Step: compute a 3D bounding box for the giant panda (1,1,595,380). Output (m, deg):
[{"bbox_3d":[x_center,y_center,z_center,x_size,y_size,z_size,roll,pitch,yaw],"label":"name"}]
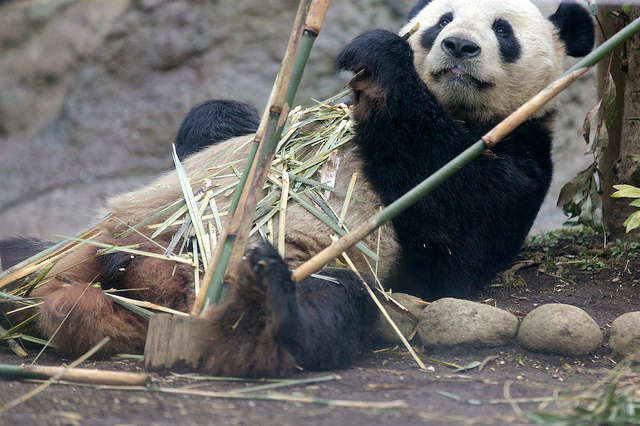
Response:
[{"bbox_3d":[0.159,-0.255,6.408,3.950,1.455,2.442,-5,9,-33],"label":"giant panda"}]
